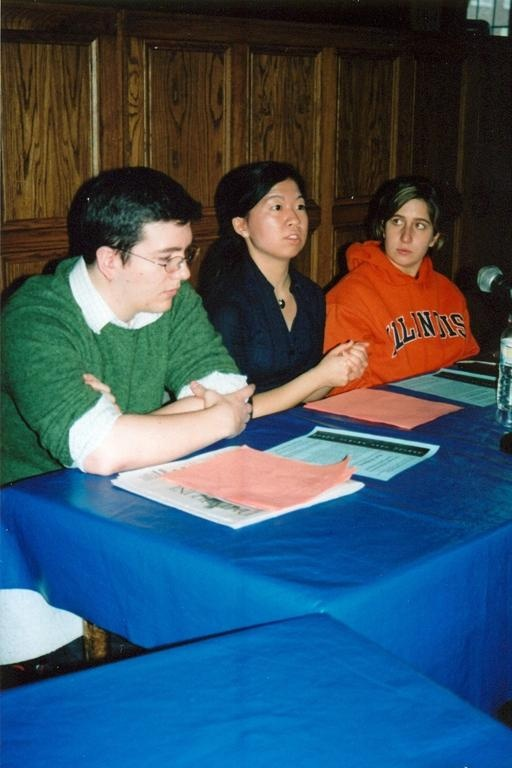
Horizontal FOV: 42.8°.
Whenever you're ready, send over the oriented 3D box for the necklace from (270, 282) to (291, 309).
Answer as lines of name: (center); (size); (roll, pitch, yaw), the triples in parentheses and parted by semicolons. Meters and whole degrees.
necklace: (0.082, -0.285, 2.146); (0.066, 0.087, 0.030); (-6, -18, -35)
